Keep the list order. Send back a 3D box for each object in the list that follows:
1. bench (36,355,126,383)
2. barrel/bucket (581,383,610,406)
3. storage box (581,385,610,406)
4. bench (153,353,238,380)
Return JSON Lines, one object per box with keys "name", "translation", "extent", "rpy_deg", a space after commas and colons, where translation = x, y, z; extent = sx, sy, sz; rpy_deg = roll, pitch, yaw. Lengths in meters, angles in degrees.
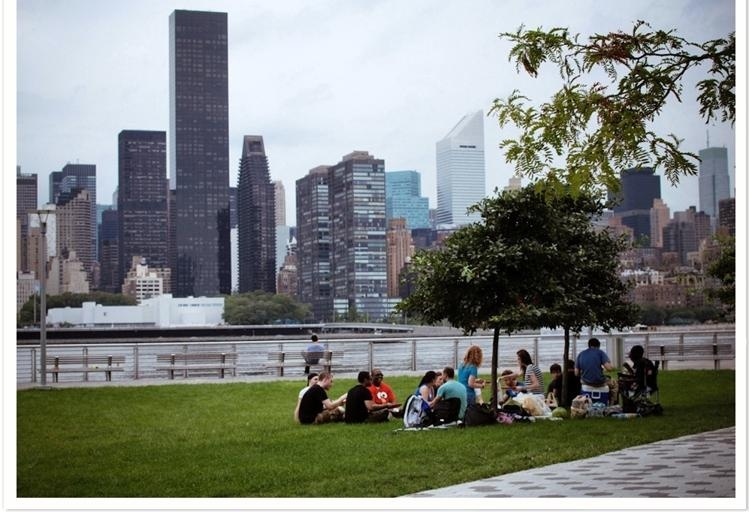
{"name": "bench", "translation": [-11.097, 4.116, 52.641], "extent": [2.266, 1.391, 3.281], "rpy_deg": [1, -7, -4]}
{"name": "barrel/bucket", "translation": [6.947, 4.380, 43.735], "extent": [0.716, 0.477, 0.698], "rpy_deg": [0, -5, 0]}
{"name": "storage box", "translation": [6.955, 4.357, 43.518], "extent": [0.692, 0.464, 0.674], "rpy_deg": [0, -6, 3]}
{"name": "bench", "translation": [-6.963, 4.272, 54.015], "extent": [3.019, 1.034, 4.408], "rpy_deg": [0, -6, -9]}
